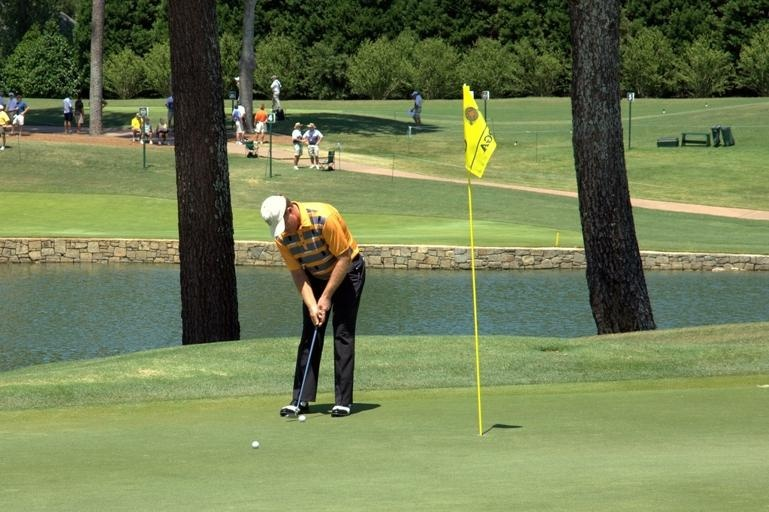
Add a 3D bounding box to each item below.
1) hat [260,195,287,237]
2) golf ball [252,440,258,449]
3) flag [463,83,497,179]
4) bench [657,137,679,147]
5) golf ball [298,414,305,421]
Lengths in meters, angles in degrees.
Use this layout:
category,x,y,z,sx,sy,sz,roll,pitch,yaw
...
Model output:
category,x,y,z,sx,sy,sz,roll,pitch,yaw
hat,-2.920,-1.045,44.884,0.672,1.141,0.312,-2,6,-3
golf ball,-3.369,5.011,43.928,0.166,0.107,0.162,-1,2,0
flag,2.599,-3.363,46.291,0.985,2.735,1.008,1,0,-2
bench,14.865,-5.949,87.804,1.146,0.428,1.876,-1,6,8
golf ball,-2.219,4.389,44.864,0.137,0.072,0.135,-1,2,0
